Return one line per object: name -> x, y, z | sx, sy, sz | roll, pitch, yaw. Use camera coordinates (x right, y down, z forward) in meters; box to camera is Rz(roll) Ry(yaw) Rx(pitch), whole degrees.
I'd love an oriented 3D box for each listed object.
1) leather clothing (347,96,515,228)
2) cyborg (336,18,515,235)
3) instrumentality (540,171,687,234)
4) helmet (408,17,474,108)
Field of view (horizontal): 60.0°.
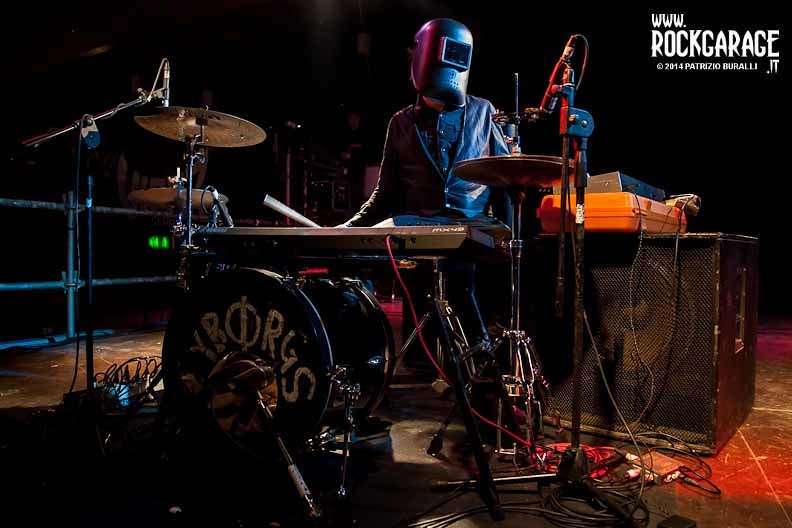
leather clothing -> 0.397, -0.822, 5.752 | 1.762, 1.127, 0.840 | -3, 8, 4
cyborg -> 0.418, -1.112, 5.572 | 1.849, 1.705, 1.045 | -1, 10, 1
instrumentality -> 1.857, -0.442, 5.436 | 0.517, 0.301, 0.683 | 13, 9, 44
helmet -> 0.364, -1.651, 5.555 | 0.510, 0.687, 0.659 | 8, 6, -17
